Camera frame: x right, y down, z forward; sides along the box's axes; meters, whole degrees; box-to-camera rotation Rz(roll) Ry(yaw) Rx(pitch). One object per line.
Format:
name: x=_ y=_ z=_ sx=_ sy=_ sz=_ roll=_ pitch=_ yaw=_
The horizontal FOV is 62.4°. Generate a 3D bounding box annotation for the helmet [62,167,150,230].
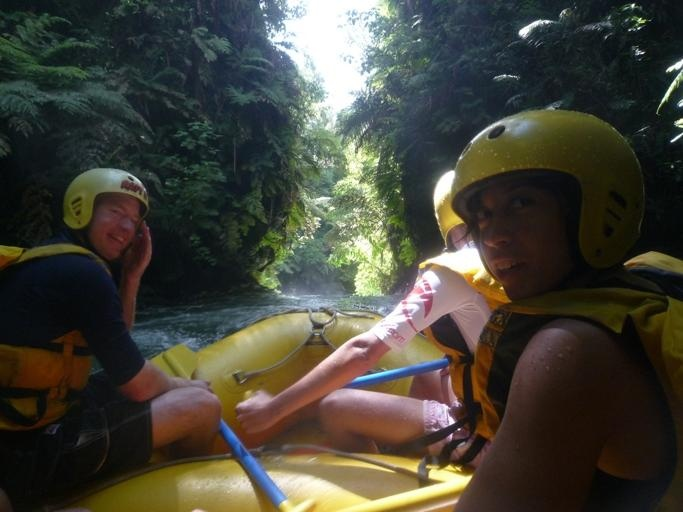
helmet: x=-1.299 y=-0.266 z=3.169 sx=0.391 sy=0.312 sz=0.325 roll=28 pitch=-16 yaw=-16
